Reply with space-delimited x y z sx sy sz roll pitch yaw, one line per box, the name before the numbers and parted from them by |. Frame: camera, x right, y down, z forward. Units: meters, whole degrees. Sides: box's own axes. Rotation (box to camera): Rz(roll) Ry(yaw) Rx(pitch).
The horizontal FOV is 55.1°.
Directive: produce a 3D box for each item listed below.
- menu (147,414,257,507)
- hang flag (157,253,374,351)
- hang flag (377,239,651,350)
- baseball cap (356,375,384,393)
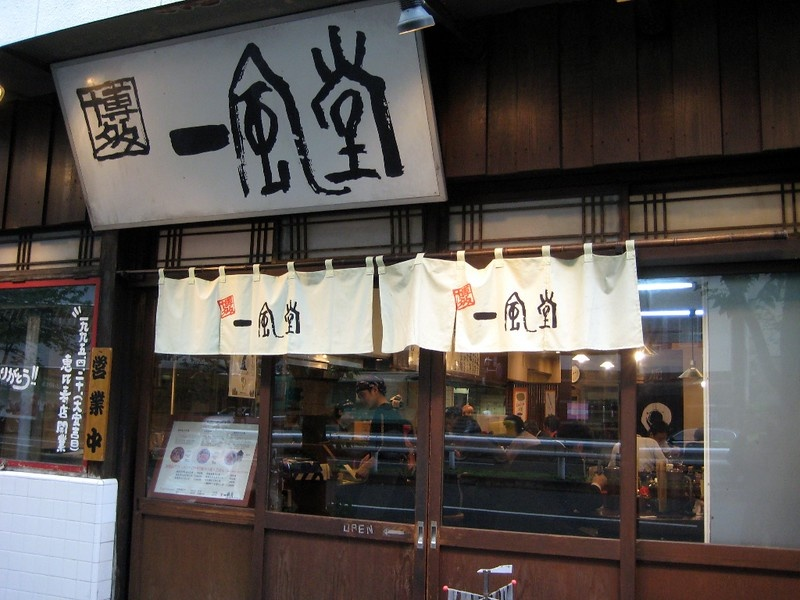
menu | -2.020 1.656 7.965 0.999 0.790 0.016 6 -14 -3
hang flag | -1.325 0.119 7.544 2.051 1.019 0.154 -2 -24 -8
hang flag | 0.949 0.005 6.866 2.312 0.929 0.161 -2 -5 13
baseball cap | -0.282 0.824 7.435 0.183 0.181 0.164 0 -5 -7
